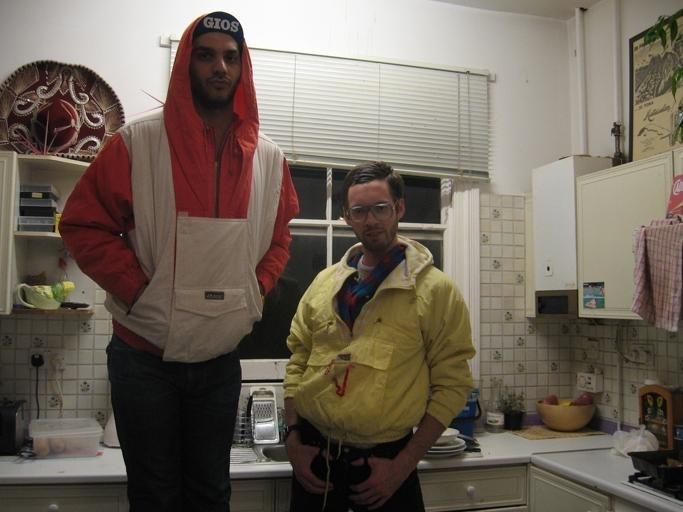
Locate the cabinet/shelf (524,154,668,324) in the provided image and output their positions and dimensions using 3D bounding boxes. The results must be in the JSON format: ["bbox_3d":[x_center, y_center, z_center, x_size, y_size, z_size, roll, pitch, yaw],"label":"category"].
[{"bbox_3d":[1.489,-0.103,3.618,0.352,0.928,0.895,3,-8,-16],"label":"cabinet/shelf"}]

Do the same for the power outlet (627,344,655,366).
[{"bbox_3d":[1.799,0.592,3.776,0.032,0.124,0.197,1,-4,-20],"label":"power outlet"}]

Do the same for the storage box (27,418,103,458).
[{"bbox_3d":[-1.445,0.948,3.282,0.244,0.092,0.217,2,4,-19],"label":"storage box"}]

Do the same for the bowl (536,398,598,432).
[{"bbox_3d":[1.441,1.018,3.999,0.363,0.181,0.229,-2,-4,16],"label":"bowl"}]

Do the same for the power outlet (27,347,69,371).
[{"bbox_3d":[-1.652,0.576,3.564,0.173,0.128,0.054,4,-2,-9],"label":"power outlet"}]

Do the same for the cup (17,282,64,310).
[{"bbox_3d":[-1.647,0.216,3.422,0.116,0.126,0.189,4,-1,40],"label":"cup"}]

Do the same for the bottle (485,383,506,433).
[{"bbox_3d":[0.976,0.958,3.989,0.111,0.300,0.121,2,8,0],"label":"bottle"}]
